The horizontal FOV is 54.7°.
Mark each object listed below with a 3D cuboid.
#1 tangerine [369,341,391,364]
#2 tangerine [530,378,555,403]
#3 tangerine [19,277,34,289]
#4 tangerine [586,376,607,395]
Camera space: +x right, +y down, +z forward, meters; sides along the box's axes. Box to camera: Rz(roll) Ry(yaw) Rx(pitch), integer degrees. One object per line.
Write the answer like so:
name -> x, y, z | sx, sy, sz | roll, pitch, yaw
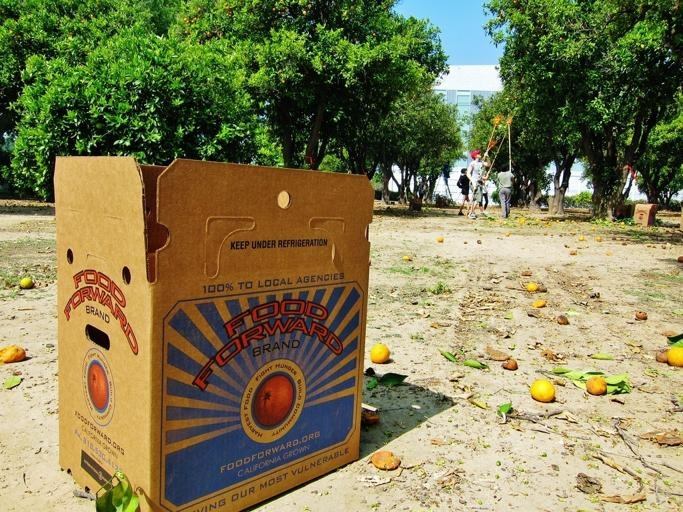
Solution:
tangerine -> 0.351, 0.907, 6.170 | 0.166, 0.172, 0.172 | 21, 49, -19
tangerine -> 1.662, 1.097, 5.495 | 0.146, 0.150, 0.186 | -38, 46, -9
tangerine -> -3.817, 0.320, 7.975 | 0.155, 0.109, 0.212 | -2, 8, -28
tangerine -> 2.182, 1.078, 5.648 | 0.126, 0.085, 0.147 | 9, 43, 19
